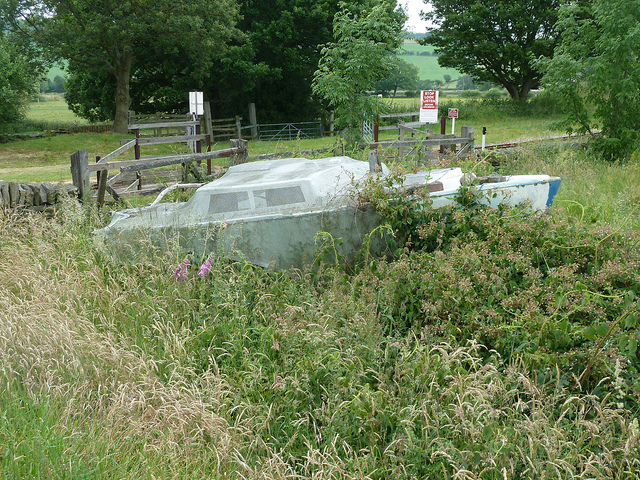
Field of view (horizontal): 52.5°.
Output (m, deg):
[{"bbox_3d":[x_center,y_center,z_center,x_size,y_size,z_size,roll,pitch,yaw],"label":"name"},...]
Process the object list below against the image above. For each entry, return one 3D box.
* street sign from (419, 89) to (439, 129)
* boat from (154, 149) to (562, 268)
[{"bbox_3d":[2.958,-3.556,17.706,0.485,1.183,0.113,1,30,6],"label":"street sign"},{"bbox_3d":[0.450,-0.385,8.427,3.698,1.172,1.428,-4,27,6],"label":"boat"}]
